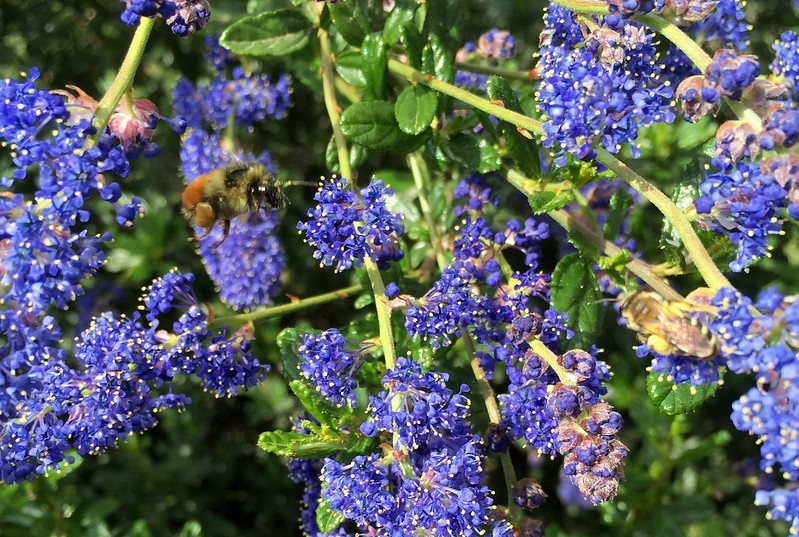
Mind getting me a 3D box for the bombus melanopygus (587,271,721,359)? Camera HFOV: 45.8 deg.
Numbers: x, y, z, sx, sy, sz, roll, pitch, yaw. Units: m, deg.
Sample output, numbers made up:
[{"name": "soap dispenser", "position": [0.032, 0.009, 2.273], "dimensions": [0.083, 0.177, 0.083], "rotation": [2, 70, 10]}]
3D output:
[{"name": "bombus melanopygus", "position": [1.073, 0.219, 3.749], "dimensions": [0.382, 0.124, 0.220], "rotation": [9, 82, 0]}]
